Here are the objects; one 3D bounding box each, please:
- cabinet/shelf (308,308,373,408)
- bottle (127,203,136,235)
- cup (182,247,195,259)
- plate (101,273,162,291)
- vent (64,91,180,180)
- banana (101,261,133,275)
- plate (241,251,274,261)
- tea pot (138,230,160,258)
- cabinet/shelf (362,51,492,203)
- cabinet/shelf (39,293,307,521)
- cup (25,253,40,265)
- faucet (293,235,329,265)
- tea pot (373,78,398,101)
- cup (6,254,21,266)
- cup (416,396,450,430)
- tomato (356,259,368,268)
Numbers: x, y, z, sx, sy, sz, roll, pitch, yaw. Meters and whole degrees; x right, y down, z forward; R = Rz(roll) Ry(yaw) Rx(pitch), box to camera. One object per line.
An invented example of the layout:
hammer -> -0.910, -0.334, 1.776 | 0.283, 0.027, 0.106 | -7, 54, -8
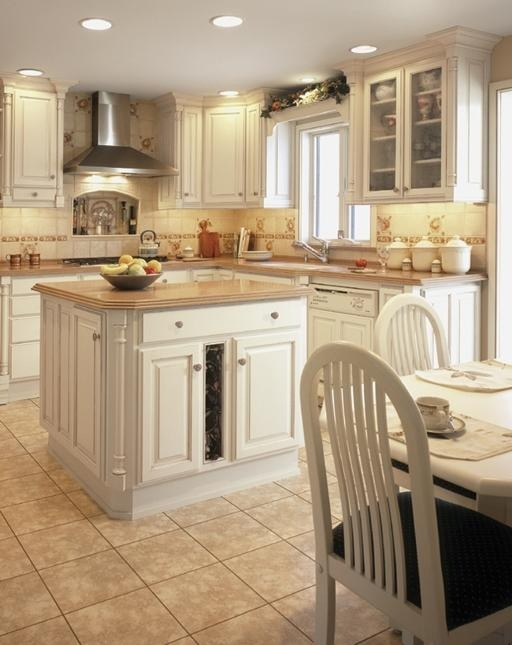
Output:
cabinet/shelf -> 0.598, 0.244, 4.209 | 0.587, 0.409, 0.783 | 10, 5, 9
bottle -> -1.212, -1.003, 5.450 | 0.092, 0.279, 0.064 | 0, 6, -12
cup -> -0.643, -0.684, 5.486 | 0.116, 0.105, 0.115 | -1, 4, 0
plate -> -0.579, -0.187, 2.597 | 0.252, 0.072, 0.277 | -1, 6, -12
vent -> -1.372, -1.741, 5.194 | 0.976, 0.739, 0.838 | -8, 15, -38
banana -> -0.642, -0.241, 2.542 | 0.119, 0.056, 0.160 | -1, 6, -14
plate -> 0.015, -0.622, 5.271 | 0.256, 0.086, 0.126 | 0, 6, -11
tea pot -> -1.042, -0.761, 5.430 | 0.196, 0.297, 0.307 | 0, 1, -7
cabinet/shelf -> 1.091, -1.261, 3.774 | 0.803, 0.936, 0.334 | 6, 8, 44
cabinet/shelf -> -0.449, 0.278, 2.872 | 1.050, 0.888, 1.049 | -3, 5, -33
cup -> -1.867, -0.527, 4.679 | 0.124, 0.116, 0.179 | -1, 3, -28
faucet -> 0.500, -0.642, 5.029 | 0.311, 0.232, 0.513 | 1, 6, 6
tea pot -> 0.902, -1.617, 3.894 | 0.149, 0.105, 0.127 | -2, 2, -37
cup -> -1.982, -0.495, 4.505 | 0.121, 0.123, 0.180 | 0, 2, -14
cup -> 0.392, 0.198, 1.257 | 0.096, 0.064, 0.071 | -2, 6, 0
tomato -> 0.788, -0.438, 4.145 | 0.086, 0.080, 0.086 | 5, 10, 41
